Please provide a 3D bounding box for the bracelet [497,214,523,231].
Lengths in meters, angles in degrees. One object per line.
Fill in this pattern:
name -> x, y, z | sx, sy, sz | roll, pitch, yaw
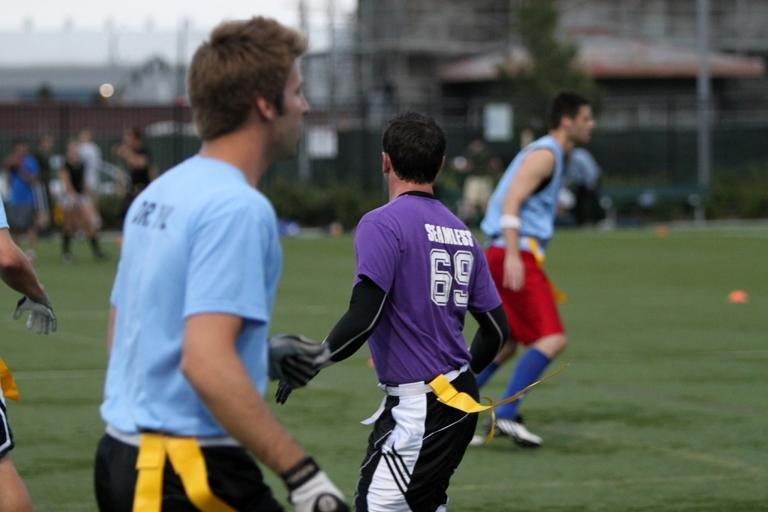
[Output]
bracelet -> 1.266, -0.335, 14.296 | 0.145, 0.104, 0.153 | 2, -3, -18
